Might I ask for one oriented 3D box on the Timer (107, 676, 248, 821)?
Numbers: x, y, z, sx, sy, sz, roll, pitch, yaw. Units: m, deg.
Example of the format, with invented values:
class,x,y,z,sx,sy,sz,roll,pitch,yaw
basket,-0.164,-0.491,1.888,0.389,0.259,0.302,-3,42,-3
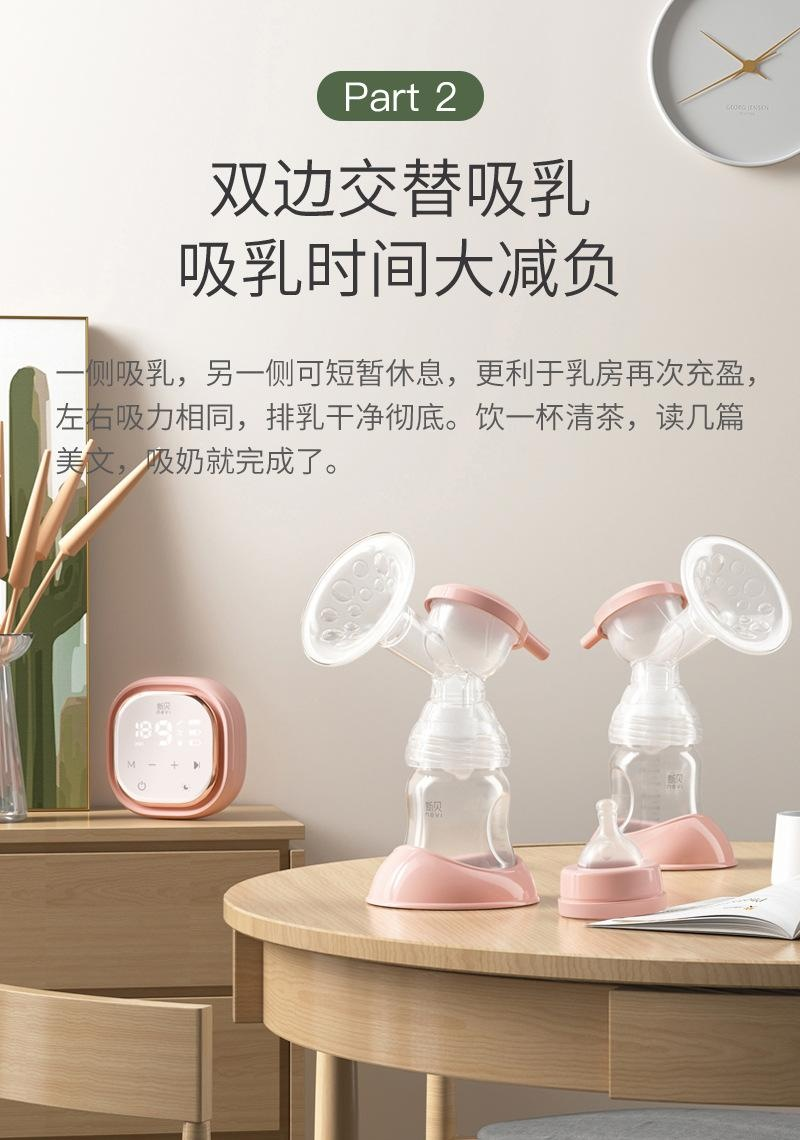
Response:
class,x,y,z,sx,sy,sz,roll,pitch,yaw
Timer,-0.314,0.255,1.661,0.208,0.202,0.109,-4,-6,16
